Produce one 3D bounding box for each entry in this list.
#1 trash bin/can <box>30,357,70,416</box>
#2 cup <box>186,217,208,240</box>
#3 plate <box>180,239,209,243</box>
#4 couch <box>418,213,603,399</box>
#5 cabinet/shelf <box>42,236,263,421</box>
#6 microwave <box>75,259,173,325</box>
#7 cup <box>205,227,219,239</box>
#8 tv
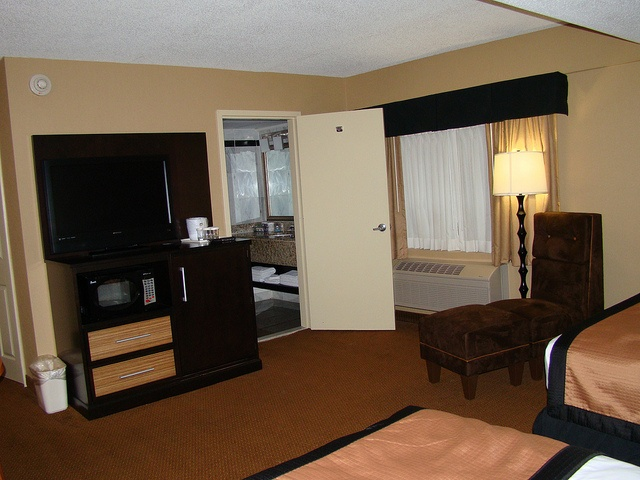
[{"bbox_3d":[-2.297,1.245,4.100,0.263,0.417,0.214,-7,12,-16],"label":"trash bin/can"},{"bbox_3d":[-1.185,-0.121,4.682,0.211,0.242,0.212,1,1,0],"label":"cup"},{"bbox_3d":[-1.220,0.002,4.646,0.247,0.042,0.017,2,-6,27],"label":"plate"},{"bbox_3d":[1.690,0.501,4.262,1.465,1.340,0.729,-8,7,-19],"label":"couch"},{"bbox_3d":[-1.523,0.780,4.153,1.361,1.136,0.526,-11,9,-39],"label":"cabinet/shelf"},{"bbox_3d":[-1.673,0.429,4.049,0.825,0.535,0.453,-9,7,-37],"label":"microwave"},{"bbox_3d":[-1.039,-0.083,4.654,0.112,0.082,0.111,0,2,0],"label":"cup"},{"bbox_3d":[-1.844,-0.368,4.328,1.196,0.858,0.121,-12,14,-34],"label":"tv"}]
